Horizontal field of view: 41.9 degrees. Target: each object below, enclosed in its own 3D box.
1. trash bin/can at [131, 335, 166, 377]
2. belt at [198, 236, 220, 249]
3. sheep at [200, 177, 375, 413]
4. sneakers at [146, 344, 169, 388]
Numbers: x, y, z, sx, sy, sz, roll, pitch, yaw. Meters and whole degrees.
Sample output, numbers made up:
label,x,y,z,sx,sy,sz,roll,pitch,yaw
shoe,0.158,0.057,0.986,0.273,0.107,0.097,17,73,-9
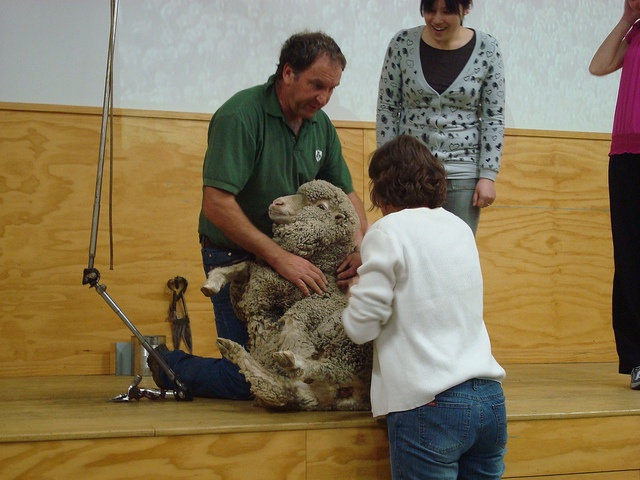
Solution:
label,x,y,z,sx,sy,sz,roll,pitch,yaw
trash bin/can,-0.974,0.706,4.918,0.268,0.282,0.262,3,-9,-4
belt,-0.540,0.009,4.063,0.077,0.051,0.076,4,5,18
sheep,-0.062,0.247,3.733,0.949,1.034,0.617,12,-10,-3
sneakers,-0.787,0.597,3.933,0.072,0.193,0.146,-27,-15,16
